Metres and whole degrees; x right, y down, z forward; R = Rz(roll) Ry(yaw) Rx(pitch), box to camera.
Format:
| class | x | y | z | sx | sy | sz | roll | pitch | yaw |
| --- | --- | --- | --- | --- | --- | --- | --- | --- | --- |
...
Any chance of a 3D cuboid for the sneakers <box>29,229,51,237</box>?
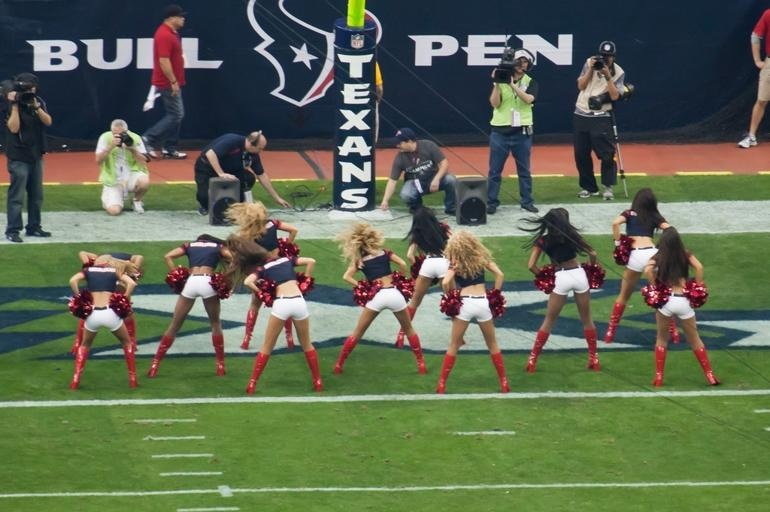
| class | x | y | z | sx | sy | sz | roll | pitch | yaw |
| --- | --- | --- | --- | --- | --- | --- | --- | --- | --- |
| sneakers | -6.086 | -0.404 | 22.063 | 0.417 | 0.123 | 0.142 | 0 | 6 | -1 |

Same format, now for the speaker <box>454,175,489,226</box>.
| class | x | y | z | sx | sy | sz | roll | pitch | yaw |
| --- | --- | --- | --- | --- | --- | --- | --- | --- | --- |
| speaker | 1.650 | -0.995 | 23.051 | 0.646 | 0.778 | 0.516 | 2 | 17 | 11 |

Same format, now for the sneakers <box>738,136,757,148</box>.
| class | x | y | z | sx | sy | sz | roll | pitch | yaw |
| --- | --- | --- | --- | --- | --- | --- | --- | --- | --- |
| sneakers | 8.460 | -2.618 | 28.772 | 0.509 | 0.186 | 0.197 | -5 | 35 | -36 |

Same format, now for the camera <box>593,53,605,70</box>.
| class | x | y | z | sx | sy | sz | roll | pitch | yaw |
| --- | --- | --- | --- | --- | --- | --- | --- | --- | --- |
| camera | 4.093 | -3.681 | 23.702 | 0.212 | 0.284 | 0.158 | 3 | 10 | 3 |

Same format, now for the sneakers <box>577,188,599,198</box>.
| class | x | y | z | sx | sy | sz | roll | pitch | yaw |
| --- | --- | --- | --- | --- | --- | --- | --- | --- | --- |
| sneakers | 4.092 | -1.226 | 24.760 | 0.478 | 0.166 | 0.163 | 1 | 6 | -33 |

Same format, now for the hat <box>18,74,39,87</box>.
| class | x | y | z | sx | sy | sz | roll | pitch | yaw |
| --- | --- | --- | --- | --- | --- | --- | --- | --- | --- |
| hat | -6.080 | -3.016 | 21.364 | 0.323 | 0.112 | 0.388 | 9 | 6 | -16 |

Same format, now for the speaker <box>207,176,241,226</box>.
| class | x | y | z | sx | sy | sz | roll | pitch | yaw |
| --- | --- | --- | --- | --- | --- | --- | --- | --- | --- |
| speaker | -2.743 | -0.964 | 22.673 | 0.649 | 0.821 | 0.544 | -4 | -2 | 19 |

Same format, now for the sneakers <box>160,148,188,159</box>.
| class | x | y | z | sx | sy | sz | roll | pitch | yaw |
| --- | --- | --- | --- | --- | --- | --- | --- | --- | --- |
| sneakers | -4.536 | -2.213 | 27.098 | 0.645 | 0.207 | 0.219 | -1 | 15 | -1 |

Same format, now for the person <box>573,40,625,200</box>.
| class | x | y | z | sx | sy | sz | roll | pitch | yaw |
| --- | --- | --- | --- | --- | --- | --- | --- | --- | --- |
| person | 4.161 | -2.615 | 24.241 | 0.905 | 3.027 | 0.941 | 3 | 11 | 6 |

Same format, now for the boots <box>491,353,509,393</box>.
| class | x | y | z | sx | sy | sz | roll | pitch | yaw |
| --- | --- | --- | --- | --- | --- | --- | --- | --- | --- |
| boots | 1.671 | 1.599 | 17.783 | 0.297 | 0.571 | 0.510 | 3 | 10 | 5 |

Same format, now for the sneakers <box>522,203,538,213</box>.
| class | x | y | z | sx | sy | sz | roll | pitch | yaw |
| --- | --- | --- | --- | --- | --- | --- | --- | --- | --- |
| sneakers | 2.765 | -0.908 | 23.746 | 0.318 | 0.097 | 0.148 | 8 | 19 | 16 |

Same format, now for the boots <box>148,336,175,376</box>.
| class | x | y | z | sx | sy | sz | roll | pitch | yaw |
| --- | --- | --- | --- | --- | --- | --- | --- | --- | --- |
| boots | -3.227 | 1.422 | 18.126 | 0.347 | 0.599 | 0.471 | 1 | 10 | -9 |

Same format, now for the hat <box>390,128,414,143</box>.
| class | x | y | z | sx | sy | sz | roll | pitch | yaw |
| --- | --- | --- | --- | --- | --- | --- | --- | --- | --- |
| hat | 0.318 | -2.162 | 22.757 | 0.474 | 0.213 | 0.297 | 6 | 27 | 13 |

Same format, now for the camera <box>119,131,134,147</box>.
| class | x | y | z | sx | sy | sz | roll | pitch | yaw |
| --- | --- | --- | --- | --- | --- | --- | --- | --- | --- |
| camera | -4.733 | -2.141 | 23.026 | 0.226 | 0.270 | 0.127 | -1 | 11 | -15 |

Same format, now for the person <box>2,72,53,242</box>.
| class | x | y | z | sx | sy | sz | roll | pitch | yaw |
| --- | --- | --- | --- | --- | --- | --- | --- | --- | --- |
| person | -6.173 | -1.689 | 21.679 | 0.768 | 2.912 | 0.583 | 0 | 11 | -15 |

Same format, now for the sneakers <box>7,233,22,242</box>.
| class | x | y | z | sx | sy | sz | roll | pitch | yaw |
| --- | --- | --- | --- | --- | --- | --- | --- | --- | --- |
| sneakers | -6.355 | -0.315 | 21.708 | 0.339 | 0.110 | 0.111 | 5 | 38 | 24 |

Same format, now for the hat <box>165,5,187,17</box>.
| class | x | y | z | sx | sy | sz | roll | pitch | yaw |
| --- | --- | --- | --- | --- | --- | --- | --- | --- | --- |
| hat | -4.211 | -4.988 | 25.603 | 0.440 | 0.182 | 0.283 | -12 | 29 | -17 |

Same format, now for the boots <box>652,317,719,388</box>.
| class | x | y | z | sx | sy | sz | roll | pitch | yaw |
| --- | --- | --- | --- | --- | --- | --- | --- | --- | --- |
| boots | 4.322 | 1.325 | 17.819 | 0.907 | 1.025 | 0.508 | 3 | 10 | 7 |

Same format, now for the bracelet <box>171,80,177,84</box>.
| class | x | y | z | sx | sy | sz | roll | pitch | yaw |
| --- | --- | --- | --- | --- | --- | --- | --- | --- | --- |
| bracelet | -4.286 | -3.557 | 25.638 | 0.130 | 0.078 | 0.095 | -2 | 10 | -23 |

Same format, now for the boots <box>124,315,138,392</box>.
| class | x | y | z | sx | sy | sz | roll | pitch | yaw |
| --- | --- | --- | --- | --- | --- | --- | --- | --- | --- |
| boots | -3.627 | 1.440 | 17.933 | 0.244 | 1.048 | 0.371 | -2 | -8 | 7 |
